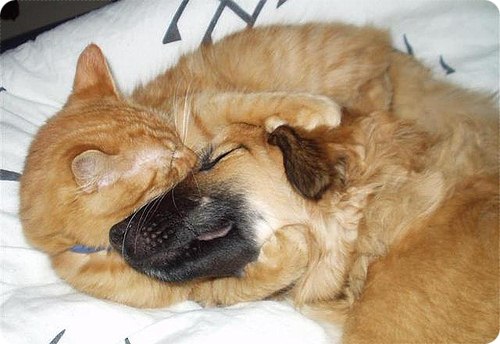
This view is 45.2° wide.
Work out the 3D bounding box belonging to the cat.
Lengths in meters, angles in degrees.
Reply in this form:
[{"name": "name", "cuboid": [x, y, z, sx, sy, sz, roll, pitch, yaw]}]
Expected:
[{"name": "cat", "cuboid": [-0.145, -0.150, 1.945, 1.296, 0.522, 0.913, -35, 39, -4]}]
